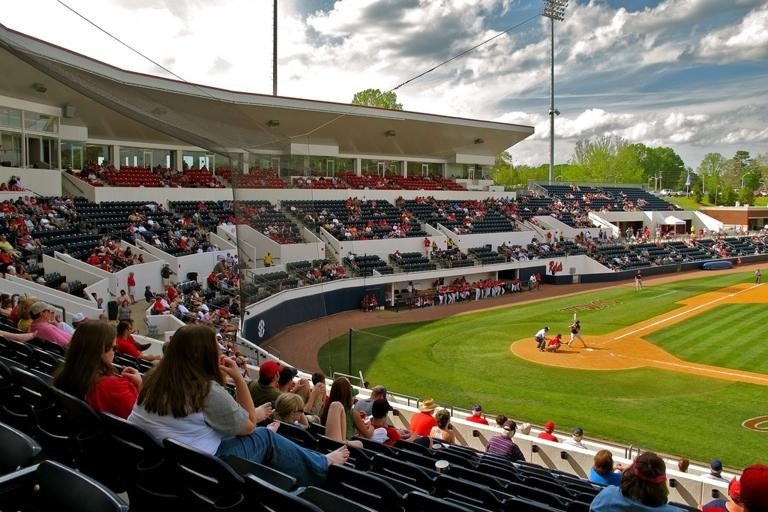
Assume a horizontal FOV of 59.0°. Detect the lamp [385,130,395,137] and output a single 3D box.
[{"bbox_3d":[0.396,-8.790,48.632,0.792,0.324,0.900,-2,1,6],"label":"lamp"}]
